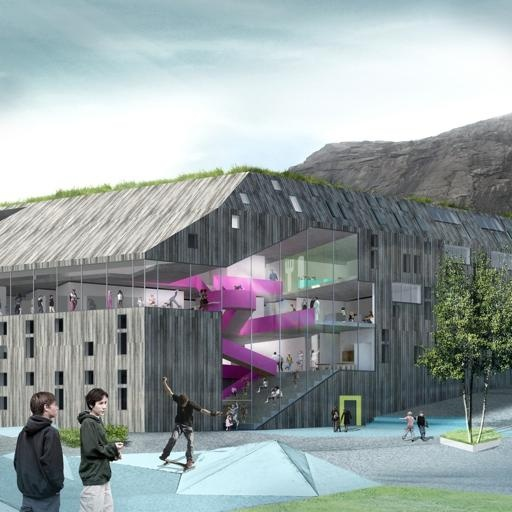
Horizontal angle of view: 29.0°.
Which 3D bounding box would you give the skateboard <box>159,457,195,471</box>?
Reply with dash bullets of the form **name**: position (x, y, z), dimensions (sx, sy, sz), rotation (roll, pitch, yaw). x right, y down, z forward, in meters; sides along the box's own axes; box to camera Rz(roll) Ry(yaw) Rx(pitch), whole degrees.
- **skateboard**: position (-2.154, 5.877, 27.869), dimensions (1.010, 0.161, 0.301), rotation (3, -3, 36)
